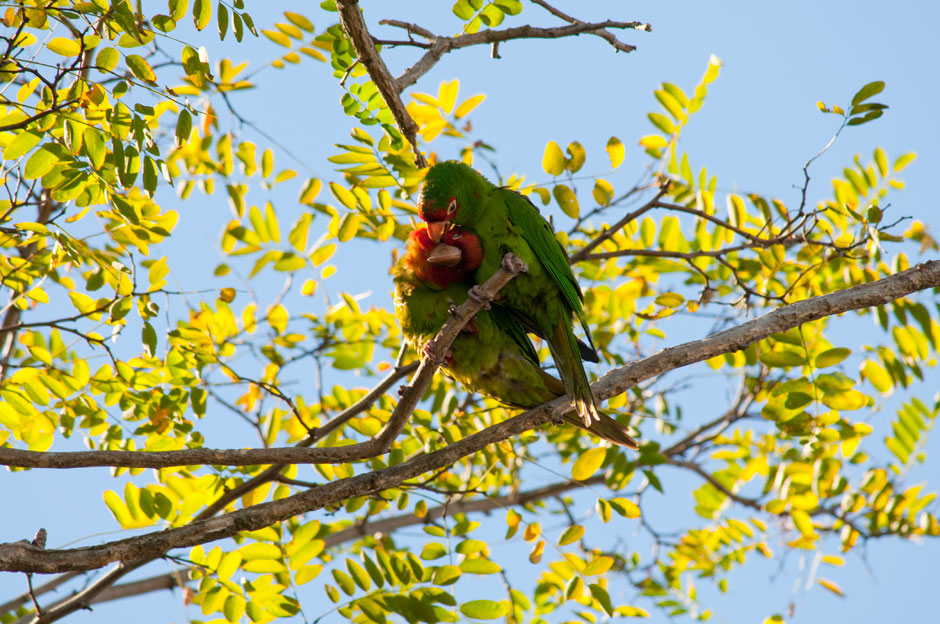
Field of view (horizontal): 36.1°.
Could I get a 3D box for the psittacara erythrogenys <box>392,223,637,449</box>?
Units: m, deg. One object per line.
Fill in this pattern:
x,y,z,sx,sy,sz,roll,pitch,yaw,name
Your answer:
0.257,0.113,8.811,0.672,1.539,0.460,-44,-23,-5,psittacara erythrogenys
